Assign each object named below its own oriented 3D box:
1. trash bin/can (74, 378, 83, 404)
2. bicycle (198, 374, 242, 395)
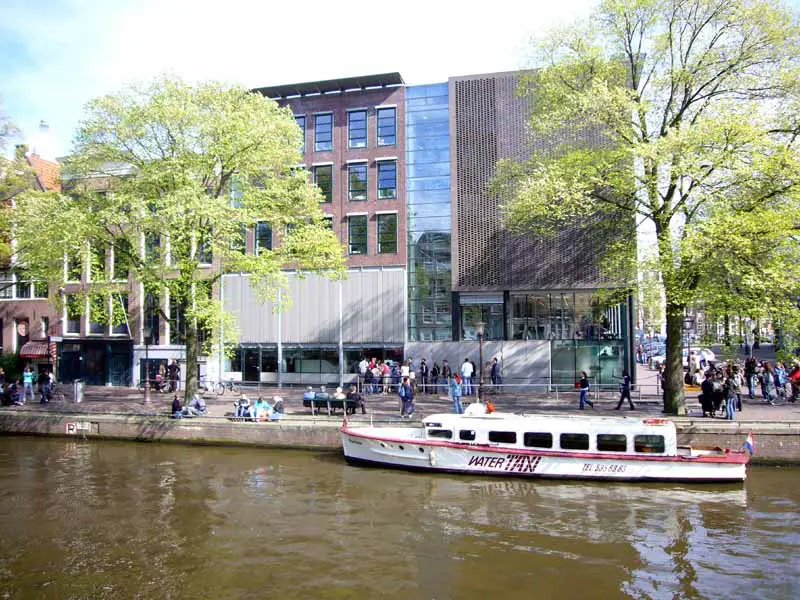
[{"bbox_3d":[-17.909,5.135,51.300,0.457,1.272,0.771,1,-6,-15],"label":"trash bin/can"},{"bbox_3d":[-10.870,5.221,55.701,2.424,1.376,1.182,-1,1,-6],"label":"bicycle"}]
